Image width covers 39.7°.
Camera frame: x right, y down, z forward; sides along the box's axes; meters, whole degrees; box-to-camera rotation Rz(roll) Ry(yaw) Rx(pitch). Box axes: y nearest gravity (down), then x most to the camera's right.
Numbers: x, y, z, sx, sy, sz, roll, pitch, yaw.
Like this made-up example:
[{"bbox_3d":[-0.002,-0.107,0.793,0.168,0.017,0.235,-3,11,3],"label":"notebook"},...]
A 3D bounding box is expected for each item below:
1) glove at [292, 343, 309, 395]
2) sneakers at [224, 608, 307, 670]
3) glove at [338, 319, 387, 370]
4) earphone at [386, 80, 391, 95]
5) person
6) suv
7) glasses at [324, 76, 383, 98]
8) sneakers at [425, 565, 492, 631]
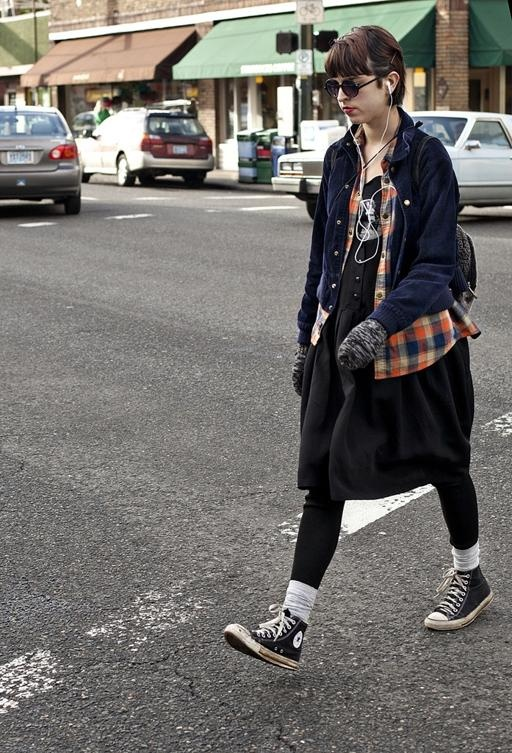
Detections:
[{"bbox_3d":[0.126,-0.014,2.084,0.050,0.128,0.101,4,19,4],"label":"glove"},{"bbox_3d":[0.033,0.643,1.765,0.216,0.133,0.076,32,-33,-26],"label":"sneakers"},{"bbox_3d":[0.245,-0.073,1.659,0.079,0.053,0.143,25,54,23],"label":"glove"},{"bbox_3d":[0.332,-0.722,1.781,0.008,0.024,0.026,-1,1,29],"label":"earphone"},{"bbox_3d":[0.289,-0.071,1.875,0.833,1.221,0.533,-1,1,-18],"label":"person"},{"bbox_3d":[-4.315,-7.859,24.314,3.219,1.841,5.387,-8,20,-27],"label":"suv"},{"bbox_3d":[0.219,-0.718,1.771,0.095,0.031,0.090,-20,24,-39],"label":"glasses"},{"bbox_3d":[0.625,0.645,2.180,0.099,0.135,0.304,1,17,46],"label":"sneakers"}]
